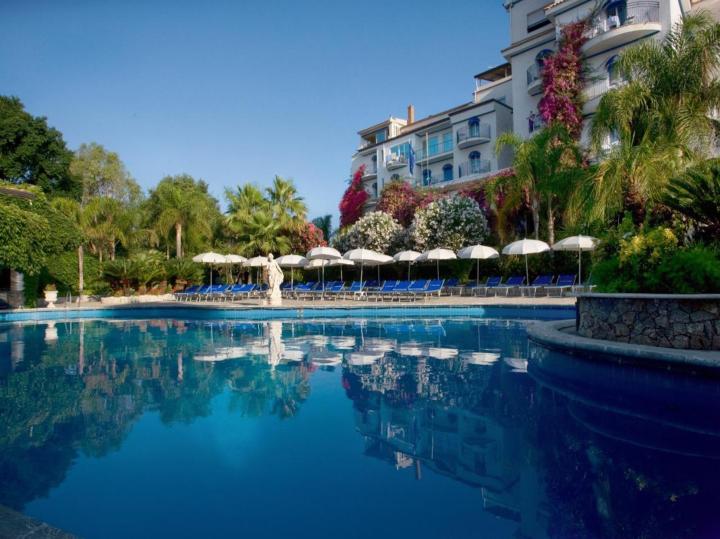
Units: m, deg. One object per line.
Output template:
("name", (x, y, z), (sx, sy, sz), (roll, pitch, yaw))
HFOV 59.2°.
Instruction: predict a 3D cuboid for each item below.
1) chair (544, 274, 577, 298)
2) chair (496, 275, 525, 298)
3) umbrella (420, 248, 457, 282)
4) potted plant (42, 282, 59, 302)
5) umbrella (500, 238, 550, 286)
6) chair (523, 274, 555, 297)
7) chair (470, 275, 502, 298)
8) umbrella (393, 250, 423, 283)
("chair", (7.091, 0.592, 22.400), (0.616, 0.968, 1.166), (-4, -8, 36))
("chair", (6.271, 0.730, 25.871), (0.844, 0.659, 0.863), (-7, -7, 44))
("umbrella", (3.319, -0.275, 26.782), (1.017, 1.260, 1.114), (-5, -9, 27))
("potted plant", (-12.815, 0.953, 26.070), (0.634, 0.886, 0.628), (2, -6, -40))
("umbrella", (6.560, -0.285, 25.340), (1.585, 2.075, 2.640), (2, 14, 13))
("chair", (7.036, 0.649, 24.688), (0.840, 0.948, 0.867), (1, 1, 34))
("chair", (5.362, 0.767, 26.696), (0.862, 0.741, 0.897), (2, -4, -34))
("umbrella", (2.130, -0.193, 27.766), (1.227, 1.604, 1.304), (-1, -5, 1))
